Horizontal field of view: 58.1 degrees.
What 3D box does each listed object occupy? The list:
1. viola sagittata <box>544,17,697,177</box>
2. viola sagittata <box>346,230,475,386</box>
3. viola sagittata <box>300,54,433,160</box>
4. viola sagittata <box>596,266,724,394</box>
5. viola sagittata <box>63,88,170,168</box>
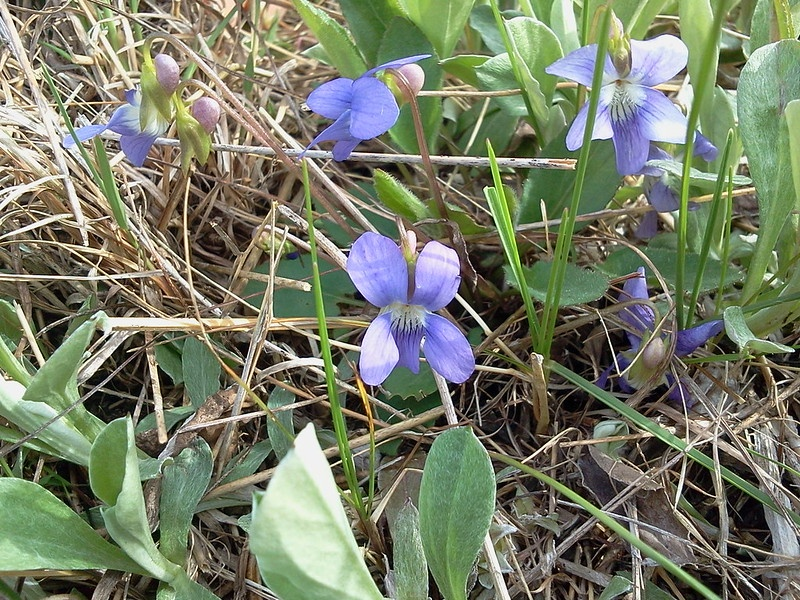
[{"bbox_3d":[0.498,-0.459,1.588,0.275,0.337,0.097,-5,45,28],"label":"viola sagittata"},{"bbox_3d":[0.020,0.006,1.462,0.234,0.105,0.335,3,85,-6],"label":"viola sagittata"},{"bbox_3d":[-0.095,-0.401,1.576,0.233,0.264,0.119,35,49,14],"label":"viola sagittata"},{"bbox_3d":[0.578,0.046,1.618,0.277,0.126,0.274,-27,49,-35],"label":"viola sagittata"},{"bbox_3d":[-0.629,-0.392,1.617,0.174,0.091,0.208,18,43,-1],"label":"viola sagittata"}]
